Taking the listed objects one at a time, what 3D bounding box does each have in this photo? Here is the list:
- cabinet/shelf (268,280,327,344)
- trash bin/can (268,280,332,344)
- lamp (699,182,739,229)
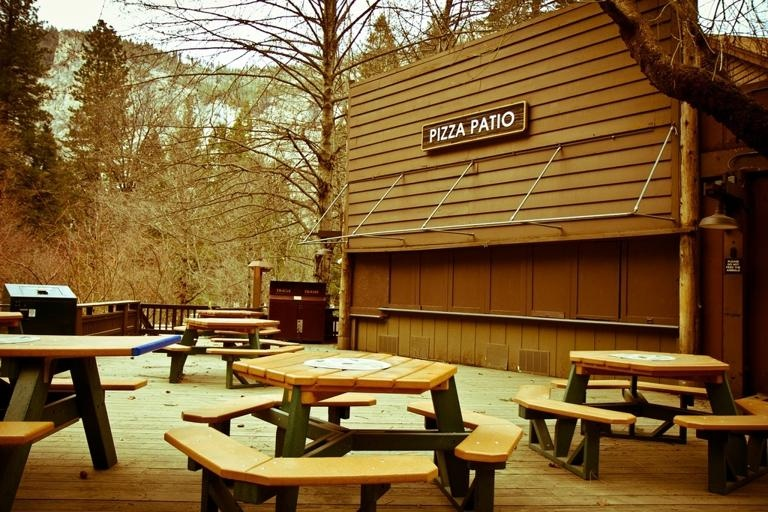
[{"bbox_3d":[-2.129,1.400,14.312,1.631,1.408,0.838,1,-4,-6],"label":"cabinet/shelf"},{"bbox_3d":[-2.027,1.416,14.915,1.588,1.394,0.888,1,0,21],"label":"trash bin/can"},{"bbox_3d":[4.771,-0.653,8.277,0.570,0.554,0.626,2,-6,34],"label":"lamp"}]
